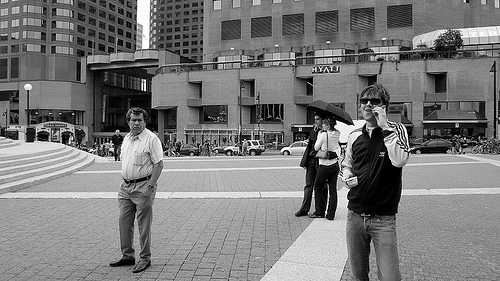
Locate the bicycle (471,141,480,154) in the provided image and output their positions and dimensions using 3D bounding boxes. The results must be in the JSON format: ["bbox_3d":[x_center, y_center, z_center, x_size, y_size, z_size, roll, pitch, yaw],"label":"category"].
[{"bbox_3d":[26.636,0.749,53.618,1.492,1.397,2.274,2,1,22],"label":"bicycle"}]

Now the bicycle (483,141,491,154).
[{"bbox_3d":[25.749,0.664,49.393,0.703,1.267,0.875,0,3,27],"label":"bicycle"}]

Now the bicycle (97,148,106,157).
[{"bbox_3d":[-19.559,1.477,60.256,0.898,0.826,1.559,7,-13,-15],"label":"bicycle"}]

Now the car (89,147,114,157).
[{"bbox_3d":[-18.852,1.418,58.605,2.324,0.961,1.607,-1,3,14],"label":"car"}]

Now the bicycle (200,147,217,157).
[{"bbox_3d":[-5.359,1.485,57.628,2.024,1.124,0.974,2,-1,7],"label":"bicycle"}]

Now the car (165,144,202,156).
[{"bbox_3d":[-8.562,1.224,60.103,4.090,1.155,1.729,0,-2,3],"label":"car"}]

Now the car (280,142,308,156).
[{"bbox_3d":[5.497,0.947,56.790,2.852,1.251,1.670,2,-3,6],"label":"car"}]

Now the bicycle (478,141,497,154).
[{"bbox_3d":[25.702,0.767,49.325,0.866,1.120,1.706,-2,3,-24],"label":"bicycle"}]

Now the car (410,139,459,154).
[{"bbox_3d":[21.909,0.728,54.196,4.649,1.532,3.836,-1,3,6],"label":"car"}]

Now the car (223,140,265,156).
[{"bbox_3d":[-0.542,0.946,58.458,4.326,1.768,2.108,2,0,10],"label":"car"}]

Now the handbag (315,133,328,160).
[{"bbox_3d":[3.801,0.557,24.032,0.814,0.846,0.358,-2,5,-39],"label":"handbag"}]

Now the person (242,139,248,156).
[{"bbox_3d":[-0.572,0.855,57.598,0.707,1.781,1.382,-1,3,-1],"label":"person"}]
